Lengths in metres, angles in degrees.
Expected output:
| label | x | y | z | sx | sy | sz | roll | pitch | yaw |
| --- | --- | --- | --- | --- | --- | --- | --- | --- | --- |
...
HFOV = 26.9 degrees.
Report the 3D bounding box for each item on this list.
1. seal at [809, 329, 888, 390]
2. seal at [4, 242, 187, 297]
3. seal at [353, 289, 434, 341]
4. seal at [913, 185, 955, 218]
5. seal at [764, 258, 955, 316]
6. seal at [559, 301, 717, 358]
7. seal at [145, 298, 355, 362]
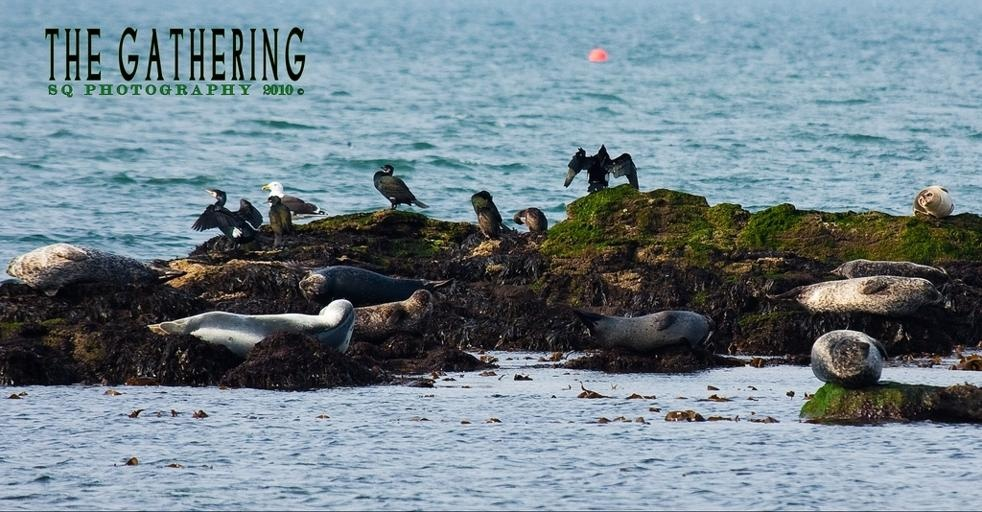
| label | x | y | z | sx | sy | sz | roll | pitch | yaw |
| --- | --- | --- | --- | --- | --- | --- | --- | --- | --- |
| seal | 9.157 | 2.645 | 53.010 | 1.725 | 0.924 | 1.760 | 1 | 15 | 7 |
| seal | -11.418 | 0.351 | 57.349 | 3.725 | 1.353 | 0.794 | -2 | 6 | -28 |
| seal | -2.825 | 1.674 | 57.841 | 2.261 | 1.398 | 0.611 | -2 | 6 | -21 |
| seal | 13.380 | -1.684 | 62.530 | 1.093 | 0.929 | 0.709 | 1 | 5 | 6 |
| seal | 10.662 | 1.034 | 58.098 | 3.257 | 0.489 | 2.371 | 2 | 10 | 16 |
| seal | 4.218 | 2.068 | 57.040 | 3.339 | 1.148 | 0.816 | 1 | 6 | 13 |
| seal | -6.553 | 2.161 | 56.147 | 5.801 | 1.519 | 1.906 | 0 | -33 | -8 |
